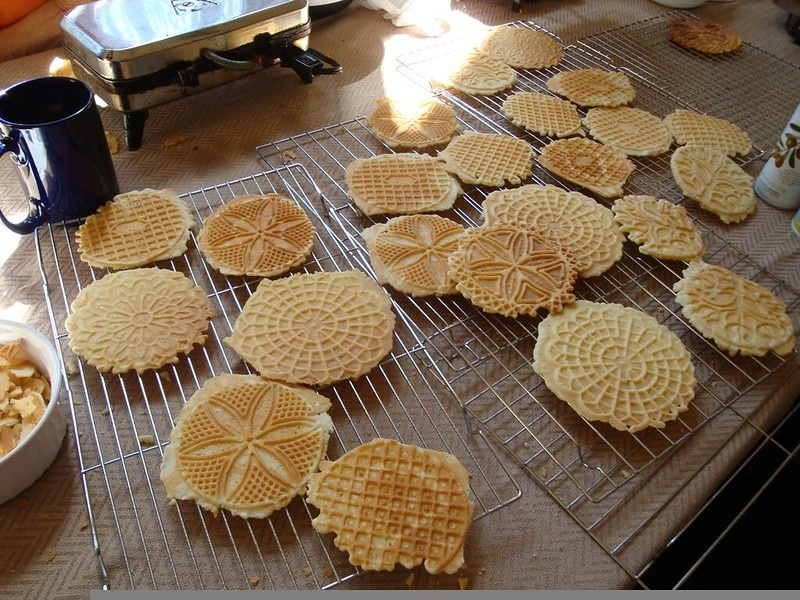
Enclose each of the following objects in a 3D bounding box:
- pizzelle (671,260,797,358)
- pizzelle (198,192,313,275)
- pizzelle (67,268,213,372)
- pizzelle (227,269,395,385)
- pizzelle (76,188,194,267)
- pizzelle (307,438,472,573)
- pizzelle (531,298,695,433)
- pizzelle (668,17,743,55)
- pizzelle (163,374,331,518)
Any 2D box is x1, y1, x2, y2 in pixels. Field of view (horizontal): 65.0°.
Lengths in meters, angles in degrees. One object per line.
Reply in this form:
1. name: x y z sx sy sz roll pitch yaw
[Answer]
1. pizzelle: 0.782 0.036 1.464 0.293 0.043 0.225 32 62 17
2. pizzelle: -0.358 -0.160 1.551 0.278 0.039 0.260 4 58 0
3. pizzelle: -0.576 0.040 1.384 0.241 0.023 0.239 -32 56 -29
4. pizzelle: -0.192 0.056 1.394 0.349 0.027 0.294 9 58 4
5. pizzelle: -0.664 -0.189 1.537 0.300 0.281 0.034 -5 47 -32
6. pizzelle: -0.022 0.385 1.194 0.315 0.038 0.240 3 58 -1
7. pizzelle: 0.468 0.134 1.369 0.322 0.039 0.332 -31 64 -19
8. pizzelle: 1.100 -0.935 2.245 0.167 0.045 0.230 -8 38 -12
9. pizzelle: -0.306 0.283 1.244 0.305 0.032 0.281 14 59 6
